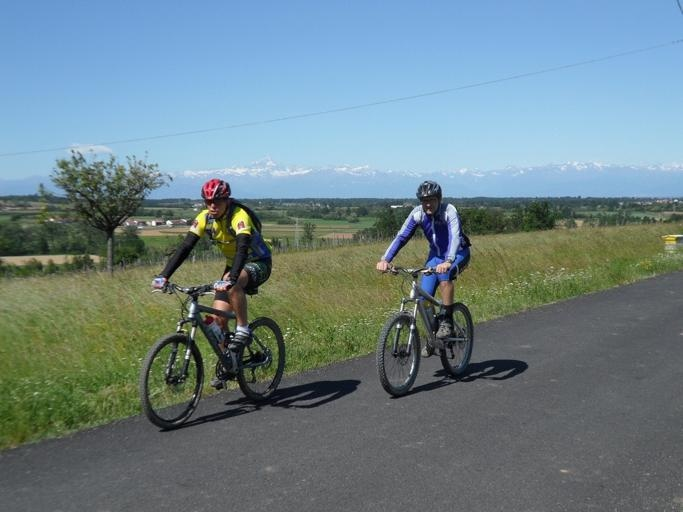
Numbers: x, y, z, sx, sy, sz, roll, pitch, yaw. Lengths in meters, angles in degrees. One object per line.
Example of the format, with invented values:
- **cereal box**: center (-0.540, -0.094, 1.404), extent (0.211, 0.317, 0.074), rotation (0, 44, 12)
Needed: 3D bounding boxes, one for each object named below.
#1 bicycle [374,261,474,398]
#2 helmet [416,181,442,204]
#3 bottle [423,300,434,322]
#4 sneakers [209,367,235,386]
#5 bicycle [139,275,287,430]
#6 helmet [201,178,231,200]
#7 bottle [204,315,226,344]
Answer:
- **bicycle**: center (0.886, 1.170, 7.144), extent (0.898, 1.265, 1.968), rotation (-4, -3, 37)
- **helmet**: center (1.129, -0.904, 6.747), extent (0.290, 0.343, 0.405), rotation (3, -24, 8)
- **bottle**: center (1.163, 0.725, 6.835), extent (0.059, 0.235, 0.168), rotation (-11, 19, -2)
- **sneakers**: center (-1.473, 1.450, 6.108), extent (0.374, 0.269, 0.129), rotation (4, -9, -29)
- **bicycle**: center (-1.729, 1.205, 6.437), extent (0.971, 1.290, 2.020), rotation (-5, -5, 38)
- **helmet**: center (-1.448, -0.768, 5.940), extent (0.321, 0.250, 0.302), rotation (-3, 6, -16)
- **bottle**: center (-1.471, 0.850, 6.031), extent (0.140, 0.357, 0.144), rotation (-29, 15, 9)
